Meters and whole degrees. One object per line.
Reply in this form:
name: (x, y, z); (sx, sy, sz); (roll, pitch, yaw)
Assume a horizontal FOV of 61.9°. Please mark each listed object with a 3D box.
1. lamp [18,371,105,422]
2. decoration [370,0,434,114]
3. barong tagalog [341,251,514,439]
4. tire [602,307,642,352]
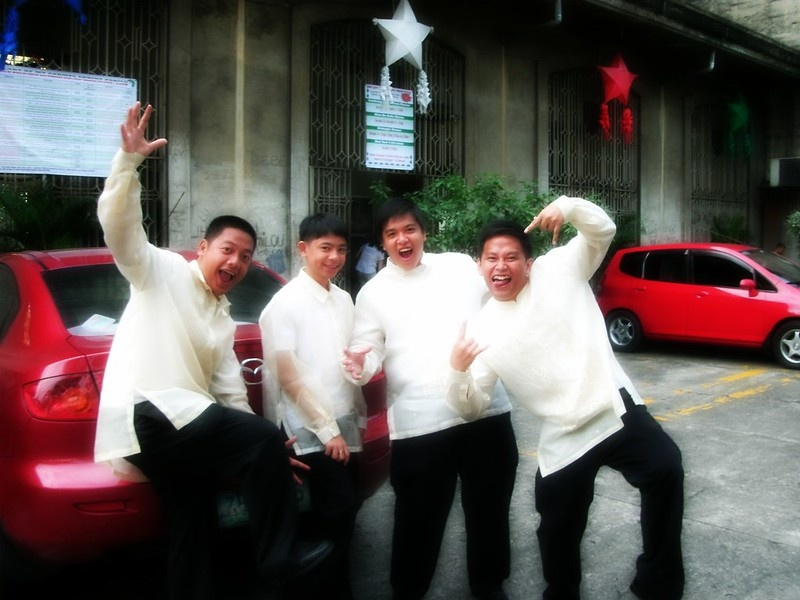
lamp: (-1.623, 0.480, 3.244); (0.298, 0.119, 0.489); (9, 10, -40)
decoration: (0.069, -3.458, 9.421); (0.751, 1.380, 1.059); (-1, 6, 3)
barong tagalog: (0.153, 0.222, 3.256); (0.726, 0.763, 0.437); (-13, -8, -6)
tire: (3.307, 0.449, 9.858); (0.201, 0.605, 0.566); (-6, 5, -39)
